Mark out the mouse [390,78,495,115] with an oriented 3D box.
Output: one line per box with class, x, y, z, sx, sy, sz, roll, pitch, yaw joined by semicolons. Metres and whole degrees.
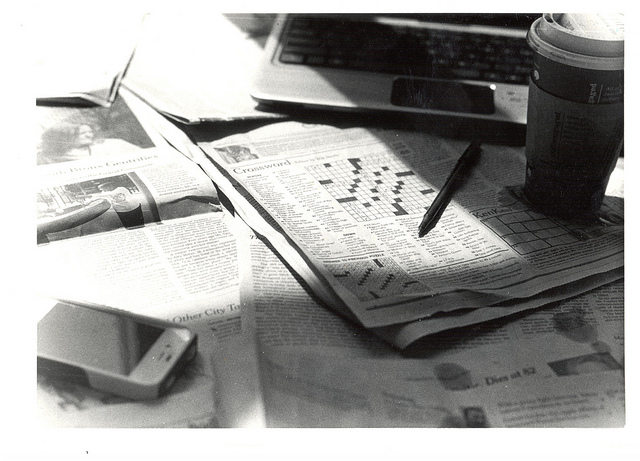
mouse;0.263;-0.282;1.161;0.222;0.015;0.072;7;92;0
